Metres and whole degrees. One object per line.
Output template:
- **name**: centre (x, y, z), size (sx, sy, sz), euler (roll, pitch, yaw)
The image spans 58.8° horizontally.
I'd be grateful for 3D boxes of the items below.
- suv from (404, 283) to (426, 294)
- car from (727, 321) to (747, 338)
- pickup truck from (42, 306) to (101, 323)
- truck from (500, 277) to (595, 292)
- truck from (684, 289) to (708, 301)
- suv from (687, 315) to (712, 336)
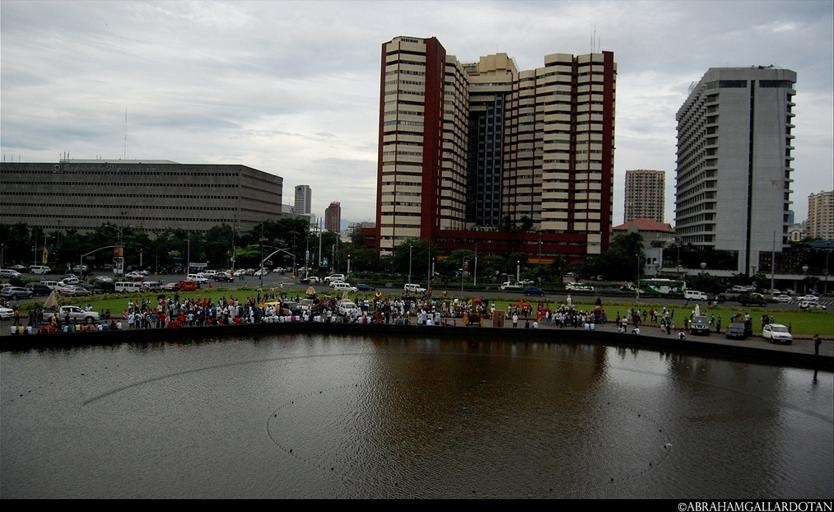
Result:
- **suv**: centre (-0.223, 4.709, 107.575), size (2.744, 1.102, 1.336), euler (-1, 11, -3)
- **car**: centre (34.410, 8.011, 80.003), size (2.167, 1.853, 1.262), euler (-1, 0, -18)
- **pickup truck**: centre (-35.910, 6.091, 77.512), size (4.672, 1.515, 2.127), euler (-1, 5, -23)
- **truck**: centre (21.379, 4.706, 123.185), size (14.182, 1.319, 1.922), euler (0, 3, -4)
- **truck**: centre (40.362, 5.742, 107.783), size (2.877, 1.264, 1.840), euler (-2, 5, 22)
- **suv**: centre (31.371, 7.620, 82.277), size (1.709, 1.267, 2.619), euler (-3, 3, 22)
